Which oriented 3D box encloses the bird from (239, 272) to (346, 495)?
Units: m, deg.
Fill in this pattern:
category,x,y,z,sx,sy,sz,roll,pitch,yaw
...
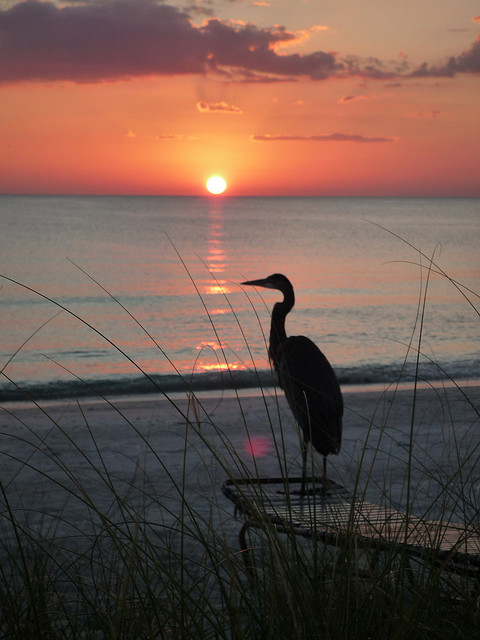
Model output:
category,x,y,z,sx,sy,sz,roll,pitch,yaw
bird,0.354,0.403,7.168,0.833,1.672,0.914,9,14,16
